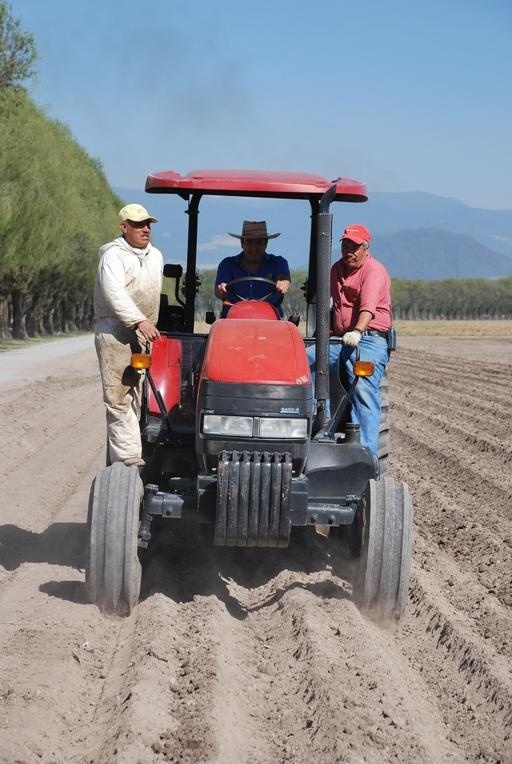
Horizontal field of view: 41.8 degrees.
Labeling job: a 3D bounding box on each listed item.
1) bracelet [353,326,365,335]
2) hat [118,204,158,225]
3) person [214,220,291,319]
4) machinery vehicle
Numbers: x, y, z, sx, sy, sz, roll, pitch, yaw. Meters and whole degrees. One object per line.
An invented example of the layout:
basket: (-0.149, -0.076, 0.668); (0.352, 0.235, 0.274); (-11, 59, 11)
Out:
bracelet: (0.629, -0.308, 3.994); (0.049, 0.035, 0.067); (1, -1, 0)
hat: (-0.685, -0.931, 3.742); (0.117, 0.084, 0.159); (-10, 10, -41)
person: (-0.031, -0.826, 4.977); (0.512, 0.696, 0.704); (-4, 28, -5)
machinery vehicle: (-0.084, -0.068, 3.905); (1.608, 2.542, 1.795); (2, 3, -9)
